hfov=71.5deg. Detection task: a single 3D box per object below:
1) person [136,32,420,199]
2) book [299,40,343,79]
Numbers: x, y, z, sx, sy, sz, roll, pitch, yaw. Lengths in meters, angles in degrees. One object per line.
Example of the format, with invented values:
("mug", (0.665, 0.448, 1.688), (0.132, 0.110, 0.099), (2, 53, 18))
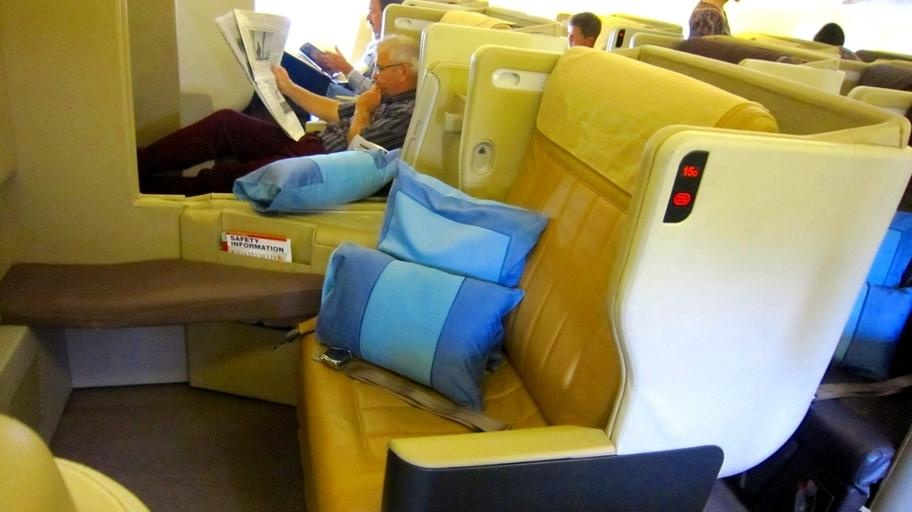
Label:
("person", (-1.132, -0.792, 3.557), (1.674, 0.923, 0.664), (-5, 26, -29))
("book", (-1.104, -1.561, 5.145), (0.212, 0.376, 0.088), (-55, 20, -21))
